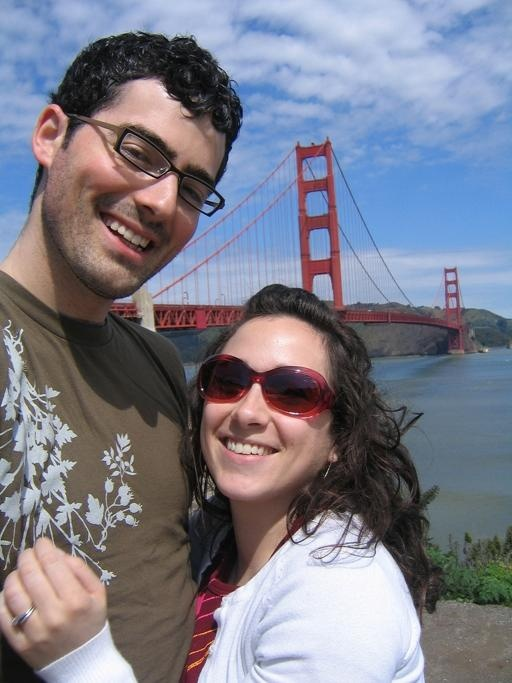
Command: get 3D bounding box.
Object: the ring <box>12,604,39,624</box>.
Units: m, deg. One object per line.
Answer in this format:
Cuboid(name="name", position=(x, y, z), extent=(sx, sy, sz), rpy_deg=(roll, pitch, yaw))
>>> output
Cuboid(name="ring", position=(-0.370, 0.438, 0.950), extent=(0.010, 0.026, 0.028), rpy_deg=(45, 27, 17))
